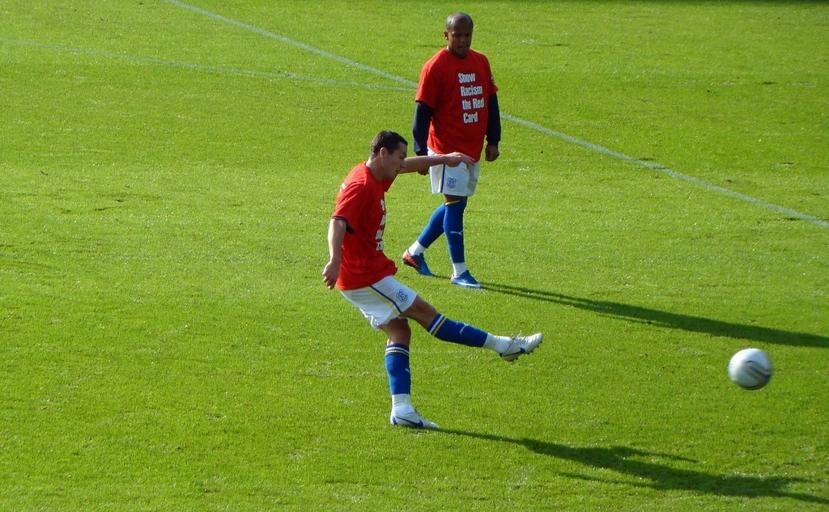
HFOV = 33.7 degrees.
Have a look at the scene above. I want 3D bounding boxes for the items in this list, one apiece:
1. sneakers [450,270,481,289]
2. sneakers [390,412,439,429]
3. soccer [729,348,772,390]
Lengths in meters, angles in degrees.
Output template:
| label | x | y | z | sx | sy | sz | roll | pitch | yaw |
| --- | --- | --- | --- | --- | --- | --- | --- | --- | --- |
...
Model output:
| label | x | y | z | sx | sy | sz | roll | pitch | yaw |
| --- | --- | --- | --- | --- | --- | --- | --- | --- | --- |
| sneakers | 0.704 | 0.352 | 18.735 | 0.395 | 0.162 | 0.208 | 3 | 9 | 35 |
| sneakers | -0.005 | 2.027 | 16.586 | 0.589 | 0.201 | 0.201 | 2 | 0 | -6 |
| soccer | 4.128 | 1.418 | 16.913 | 0.525 | 0.491 | 0.511 | 18 | -10 | 3 |
